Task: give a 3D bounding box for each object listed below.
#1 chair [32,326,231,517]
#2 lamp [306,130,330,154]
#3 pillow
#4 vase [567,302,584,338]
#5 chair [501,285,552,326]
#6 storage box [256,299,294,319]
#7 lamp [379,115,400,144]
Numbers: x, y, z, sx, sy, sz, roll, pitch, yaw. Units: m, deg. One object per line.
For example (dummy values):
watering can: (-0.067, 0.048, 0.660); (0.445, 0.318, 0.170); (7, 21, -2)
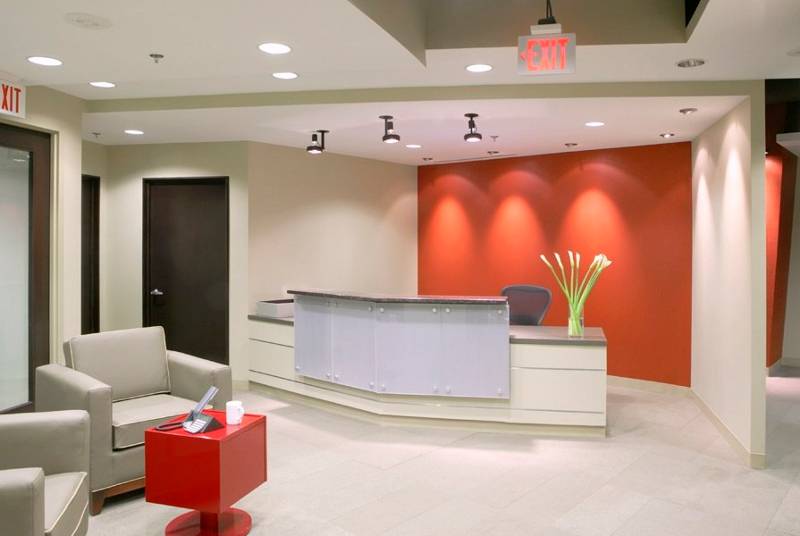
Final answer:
chair: (-2.374, 1.283, 4.973); (1.260, 1.210, 1.361); (11, 4, 31)
lamp: (-0.984, -1.518, 6.739); (0.227, 0.249, 0.635); (-1, 8, -7)
pillow: (-2.488, 0.838, 5.009); (0.720, 0.665, 0.479); (-1, -26, -35)
vase: (1.770, 0.521, 5.658); (0.129, 0.336, 0.125); (2, 9, 12)
chair: (1.486, 0.419, 6.553); (0.475, 0.661, 0.516); (0, 0, 19)
storage box: (-1.609, 0.526, 7.045); (0.524, 0.188, 0.297); (1, 8, 3)
lamp: (-0.126, -1.512, 6.135); (0.273, 0.364, 0.268); (-3, 5, -2)
